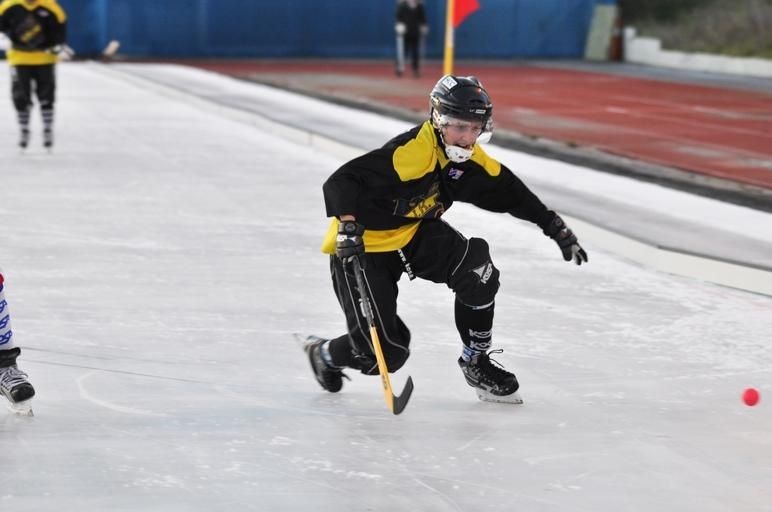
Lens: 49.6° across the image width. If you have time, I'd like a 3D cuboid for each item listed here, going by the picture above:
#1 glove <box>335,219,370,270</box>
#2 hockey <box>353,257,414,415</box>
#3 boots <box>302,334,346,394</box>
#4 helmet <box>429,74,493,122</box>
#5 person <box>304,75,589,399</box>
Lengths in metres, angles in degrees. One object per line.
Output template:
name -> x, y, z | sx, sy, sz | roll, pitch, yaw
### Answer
glove -> -0.141, -0.055, 3.339 | 0.111, 0.171, 0.071 | 4, 18, -4
hockey -> -0.030, 0.271, 3.522 | 0.162, 0.105, 0.908 | -10, 45, -13
boots -> -0.245, 0.473, 3.670 | 0.118, 0.288, 0.139 | -29, -3, -29
helmet -> 0.314, -0.649, 3.469 | 0.251, 0.185, 0.221 | 2, 16, -6
person -> 0.261, -0.076, 3.556 | 1.020, 1.350, 0.593 | 7, 18, 8
